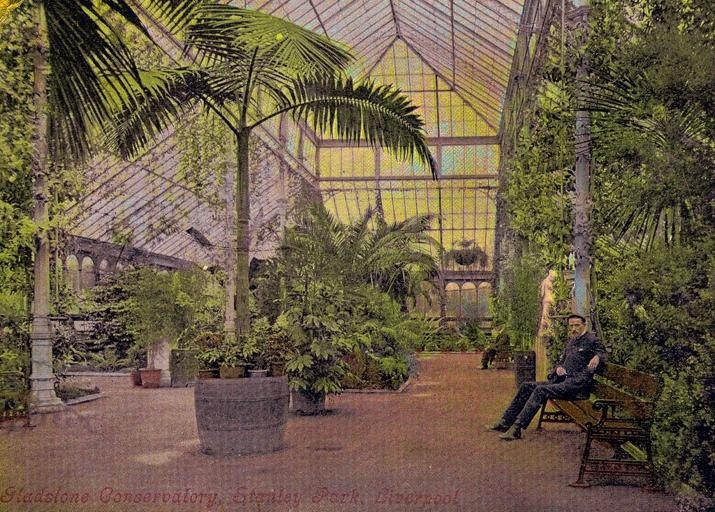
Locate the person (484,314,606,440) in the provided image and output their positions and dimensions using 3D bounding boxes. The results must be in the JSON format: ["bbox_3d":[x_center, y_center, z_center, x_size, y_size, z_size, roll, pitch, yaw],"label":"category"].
[{"bbox_3d":[1.874,1.250,7.397,1.209,1.676,0.847,0,-1,3],"label":"person"}]

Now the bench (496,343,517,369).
[{"bbox_3d":[3.294,2.274,16.181,0.524,0.606,0.435,1,-11,-1],"label":"bench"}]
